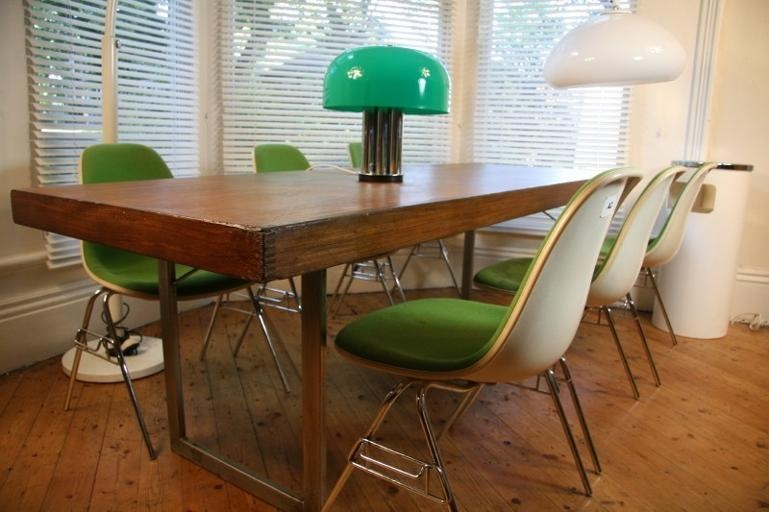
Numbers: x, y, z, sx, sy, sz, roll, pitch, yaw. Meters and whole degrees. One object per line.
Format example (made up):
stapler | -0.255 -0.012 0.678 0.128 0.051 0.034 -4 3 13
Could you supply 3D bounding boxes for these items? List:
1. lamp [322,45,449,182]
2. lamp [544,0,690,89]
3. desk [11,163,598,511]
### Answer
lamp | 0.001 -0.609 2.508 0.571 0.542 0.556 -14 27 -36
lamp | 1.168 -1.044 2.968 0.545 0.328 0.496 -6 19 -2
desk | -0.407 0.385 2.322 0.669 0.647 1.511 9 14 37
